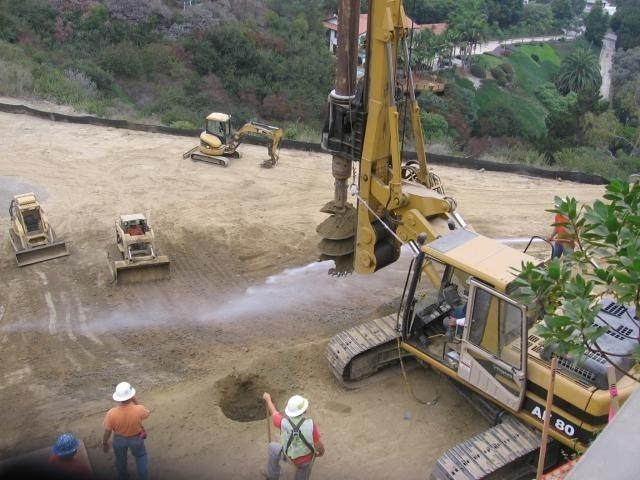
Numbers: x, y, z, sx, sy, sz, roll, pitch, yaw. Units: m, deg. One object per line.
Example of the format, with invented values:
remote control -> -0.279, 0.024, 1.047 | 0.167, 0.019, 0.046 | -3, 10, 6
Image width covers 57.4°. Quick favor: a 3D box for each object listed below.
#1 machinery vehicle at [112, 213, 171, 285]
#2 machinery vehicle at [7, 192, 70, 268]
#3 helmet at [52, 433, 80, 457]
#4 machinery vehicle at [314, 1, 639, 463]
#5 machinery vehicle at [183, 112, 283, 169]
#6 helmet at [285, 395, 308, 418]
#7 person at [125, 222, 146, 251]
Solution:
machinery vehicle -> -4.966, 0.007, 15.817 | 1.411, 1.234, 2.618 | -7, 37, -21
machinery vehicle -> -7.663, -0.267, 15.709 | 1.183, 1.105, 2.304 | -15, 43, -27
helmet -> -3.626, 2.916, 8.336 | 0.321, 0.343, 0.271 | -12, 23, -26
machinery vehicle -> 2.059, -0.682, 10.058 | 3.134, 6.708, 6.571 | -8, 21, -16
machinery vehicle -> -3.286, -4.024, 24.427 | 4.690, 2.138, 2.018 | 9, 34, 7
helmet -> -0.343, 2.409, 8.483 | 0.295, 0.315, 0.232 | -7, 21, -12
person -> -4.794, -0.146, 15.173 | 0.438, 1.010, 0.328 | -17, 40, -33
